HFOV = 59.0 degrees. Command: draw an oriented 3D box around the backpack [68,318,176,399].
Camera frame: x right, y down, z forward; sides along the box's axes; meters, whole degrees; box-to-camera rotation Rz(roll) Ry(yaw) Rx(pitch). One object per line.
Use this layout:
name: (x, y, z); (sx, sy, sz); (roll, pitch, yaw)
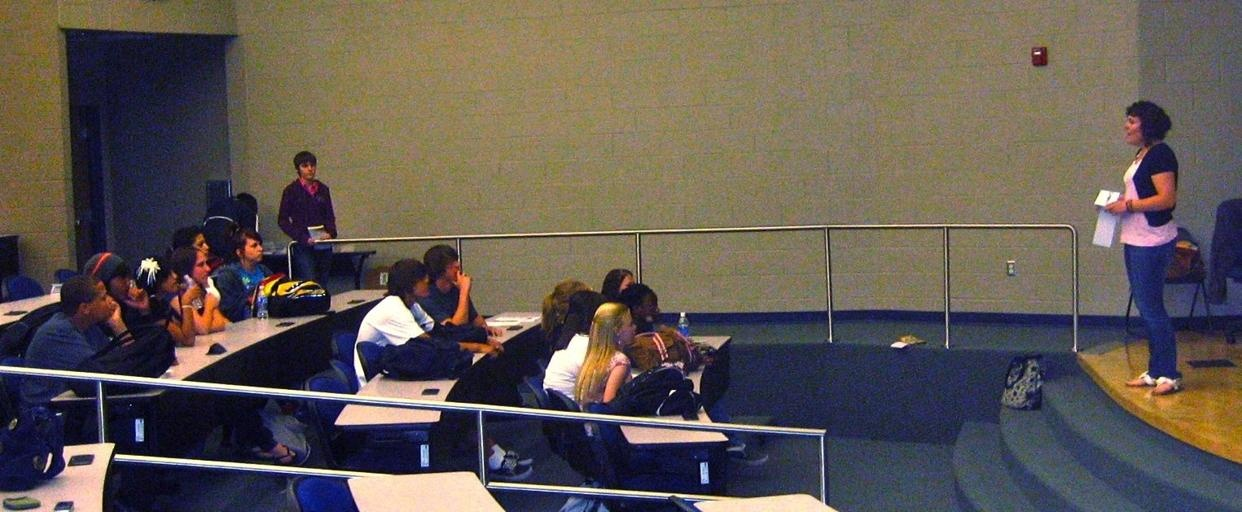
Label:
backpack: (-6.528, 1.360, 14.409); (0.857, 0.401, 1.128); (24, 40, 34)

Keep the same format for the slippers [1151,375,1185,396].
slippers: (7.315, 1.749, 14.659); (0.391, 0.212, 0.166); (-10, -1, 9)

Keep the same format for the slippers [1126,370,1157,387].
slippers: (7.050, 1.668, 14.882); (0.287, 0.113, 0.202); (-5, 3, 14)

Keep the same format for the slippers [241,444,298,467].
slippers: (-4.831, 2.756, 15.124); (0.831, 0.244, 0.270); (6, -18, -13)

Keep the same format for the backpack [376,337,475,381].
backpack: (-2.662, 1.421, 14.902); (0.695, 0.281, 0.891); (-1, -1, 37)

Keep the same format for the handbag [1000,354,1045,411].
handbag: (5.767, 1.809, 15.671); (0.633, 0.710, 0.234); (0, -9, 32)

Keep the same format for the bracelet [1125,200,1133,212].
bracelet: (6.755, -0.664, 14.534); (0.106, 0.124, 0.063); (0, 3, 17)

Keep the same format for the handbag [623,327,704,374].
handbag: (0.575, 1.307, 15.162); (0.827, 0.310, 0.631); (-3, 2, -38)

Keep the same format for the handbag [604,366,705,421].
handbag: (0.430, 1.810, 14.477); (1.048, 0.395, 0.734); (-1, 2, 0)
